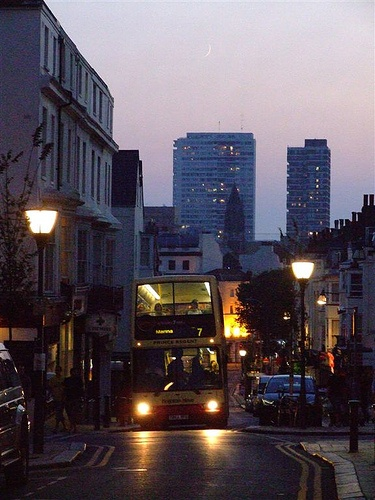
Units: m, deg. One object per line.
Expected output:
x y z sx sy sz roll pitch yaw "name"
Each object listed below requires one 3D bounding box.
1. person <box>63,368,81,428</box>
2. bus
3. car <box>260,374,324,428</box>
-3.045 3.930 26.763 0.446 1.643 1.363 1 -7 -6 "person"
-0.287 2.532 25.767 2.306 3.604 0.952 0 -7 -4 "bus"
2.867 4.248 28.858 1.123 1.048 2.107 -1 -11 4 "car"
